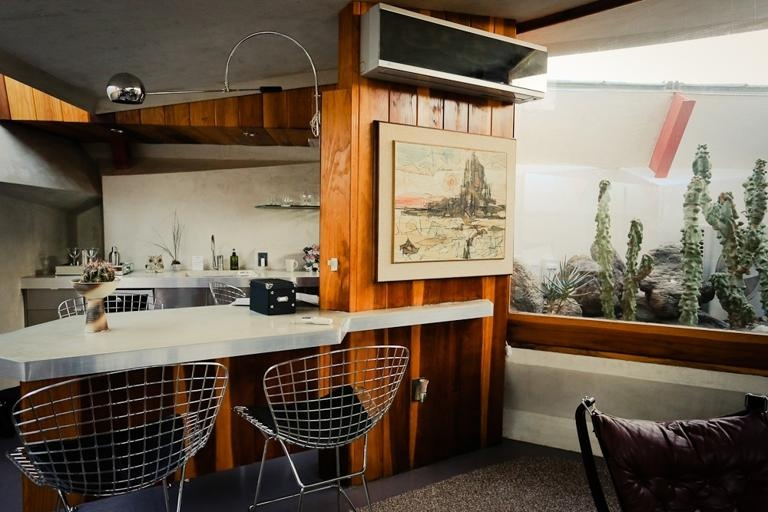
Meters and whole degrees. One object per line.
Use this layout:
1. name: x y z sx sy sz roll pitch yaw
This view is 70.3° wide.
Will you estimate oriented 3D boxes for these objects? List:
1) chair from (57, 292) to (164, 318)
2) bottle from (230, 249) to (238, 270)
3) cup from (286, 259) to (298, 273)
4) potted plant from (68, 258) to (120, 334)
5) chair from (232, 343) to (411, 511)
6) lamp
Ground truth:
1. chair: -2.347 0.426 4.705 0.455 0.275 0.238 0 -2 -6
2. bottle: -1.924 0.036 6.979 0.115 0.259 0.094 -2 1 -8
3. cup: -1.145 0.116 6.766 0.115 0.148 0.177 -6 -11 40
4. potted plant: -2.015 0.278 3.827 0.268 0.369 0.283 -2 1 -27
5. chair: -0.421 1.237 3.932 1.071 1.301 1.073 -1 1 7
6. lamp: -1.447 -1.476 5.134 1.647 0.953 1.631 -2 1 -8
